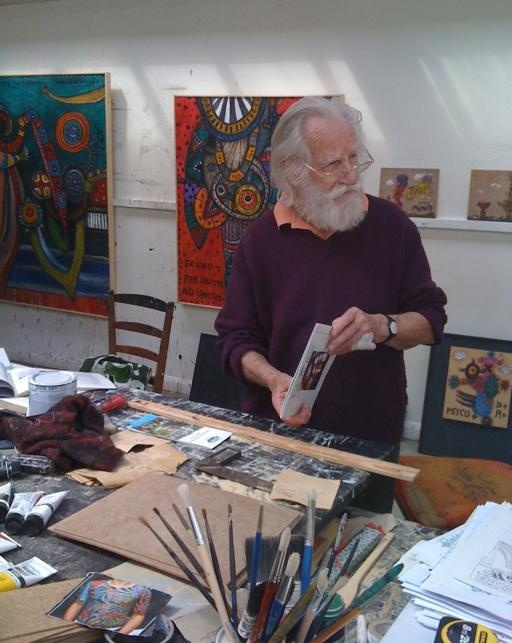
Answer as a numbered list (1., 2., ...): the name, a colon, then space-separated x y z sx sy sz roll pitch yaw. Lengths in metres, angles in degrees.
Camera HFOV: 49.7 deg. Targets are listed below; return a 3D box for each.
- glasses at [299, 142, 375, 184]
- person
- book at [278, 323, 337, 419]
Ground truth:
1. glasses: 0.237 -0.431 1.547 0.137 0.040 0.129 -22 22 -12
2. person: 0.199 0.082 1.745 0.612 1.353 0.548 0 5 1
3. book: 0.147 0.139 1.515 0.033 0.294 0.297 26 13 16
